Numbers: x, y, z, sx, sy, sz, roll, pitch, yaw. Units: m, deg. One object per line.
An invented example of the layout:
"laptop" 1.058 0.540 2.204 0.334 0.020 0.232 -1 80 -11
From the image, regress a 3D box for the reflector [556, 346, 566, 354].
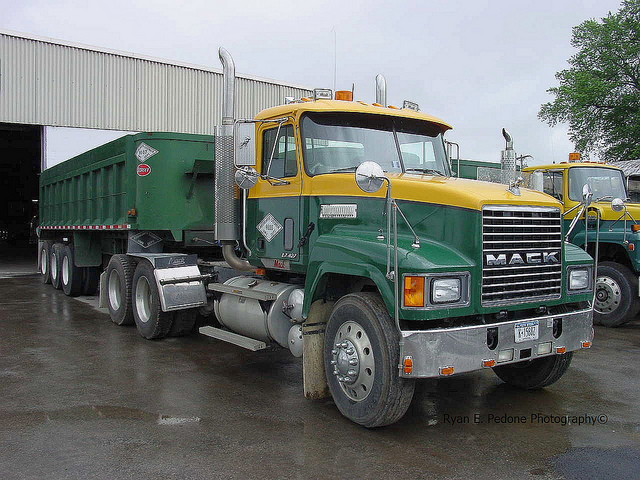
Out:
"reflector" 2.556 1.166 5.108 0.089 0.073 0.039 -1 6 -12

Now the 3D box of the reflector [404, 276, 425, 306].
"reflector" 0.866 0.455 4.371 0.222 0.347 0.035 3 4 16

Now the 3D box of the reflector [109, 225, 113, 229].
"reflector" -4.342 -0.280 10.088 0.073 0.082 0.047 5 -4 -3

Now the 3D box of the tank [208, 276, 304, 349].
"tank" -0.803 0.931 6.631 1.281 0.909 0.918 0 0 43

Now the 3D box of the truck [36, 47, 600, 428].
"truck" -1.766 -0.455 8.991 10.718 4.446 3.409 3 5 44

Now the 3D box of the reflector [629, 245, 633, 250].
"reflector" 6.181 0.162 9.607 0.058 0.115 0.061 -1 1 -29
